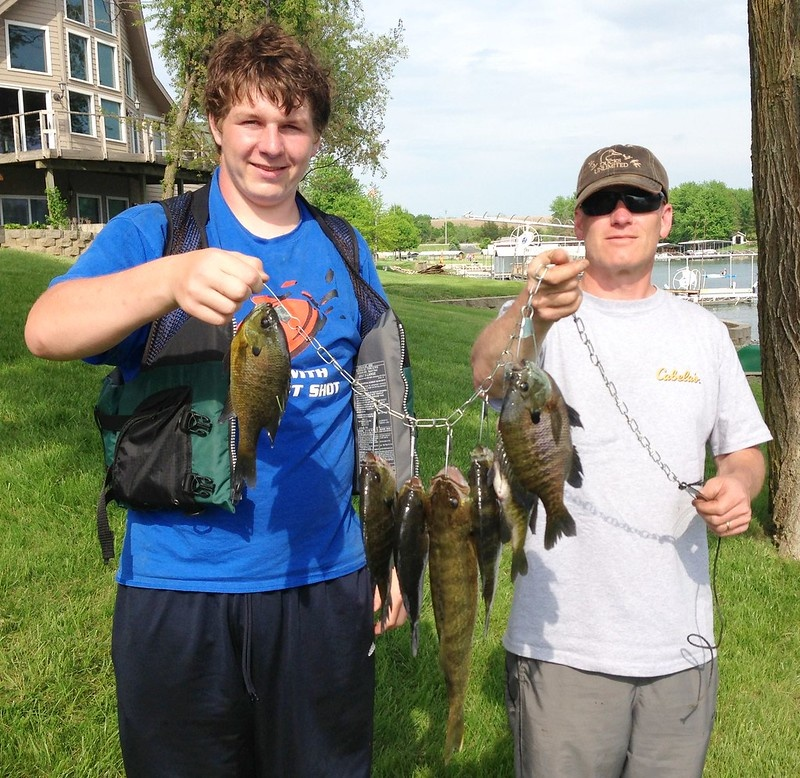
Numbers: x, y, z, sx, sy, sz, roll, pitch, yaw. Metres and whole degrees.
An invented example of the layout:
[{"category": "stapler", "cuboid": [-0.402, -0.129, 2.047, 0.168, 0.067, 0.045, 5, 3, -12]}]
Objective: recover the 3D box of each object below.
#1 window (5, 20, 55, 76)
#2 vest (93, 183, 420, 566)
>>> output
[{"category": "window", "cuboid": [-12.543, -11.528, 26.051, 0.122, 2.114, 1.969, 3, 7, 28]}, {"category": "vest", "cuboid": [-0.578, 0.095, 2.714, 1.268, 1.165, 0.504, 8, 6, 35]}]
